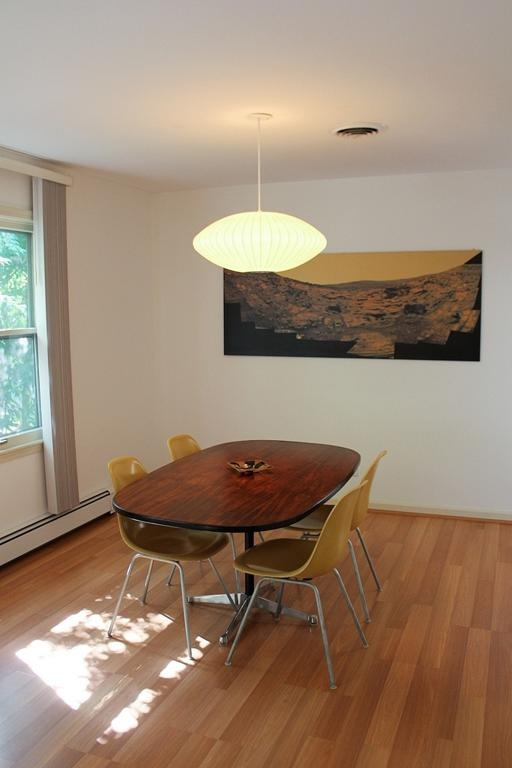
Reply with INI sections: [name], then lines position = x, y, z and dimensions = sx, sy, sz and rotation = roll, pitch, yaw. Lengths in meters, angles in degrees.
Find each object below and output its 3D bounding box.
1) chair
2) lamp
[chair]
position = 0.015, 0.760, 2.705
dimensions = 1.105, 0.778, 1.354
rotation = 0, 4, 12
[lamp]
position = 0.014, -0.957, 2.667
dimensions = 0.697, 0.843, 0.723
rotation = -1, 13, -2
